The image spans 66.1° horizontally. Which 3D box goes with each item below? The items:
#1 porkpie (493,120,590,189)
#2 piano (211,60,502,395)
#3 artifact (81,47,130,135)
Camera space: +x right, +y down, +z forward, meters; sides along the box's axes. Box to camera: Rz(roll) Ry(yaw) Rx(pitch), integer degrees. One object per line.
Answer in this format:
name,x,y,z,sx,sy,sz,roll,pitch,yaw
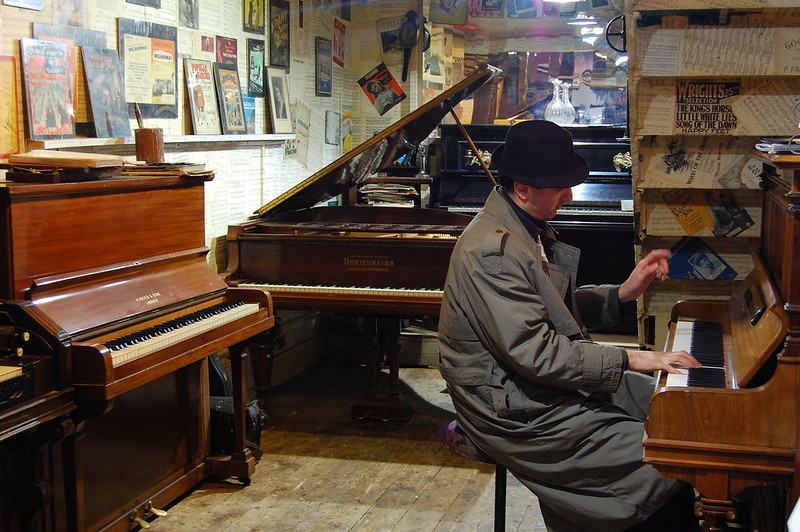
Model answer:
porkpie,0.641,-0.509,2.803,0.373,0.137,0.310,11,31,23
piano,-0.349,-0.352,5.642,2.596,2.751,2.191,2,7,7
artifact,-1.752,-1.037,3.692,0.105,0.528,0.285,3,11,16
